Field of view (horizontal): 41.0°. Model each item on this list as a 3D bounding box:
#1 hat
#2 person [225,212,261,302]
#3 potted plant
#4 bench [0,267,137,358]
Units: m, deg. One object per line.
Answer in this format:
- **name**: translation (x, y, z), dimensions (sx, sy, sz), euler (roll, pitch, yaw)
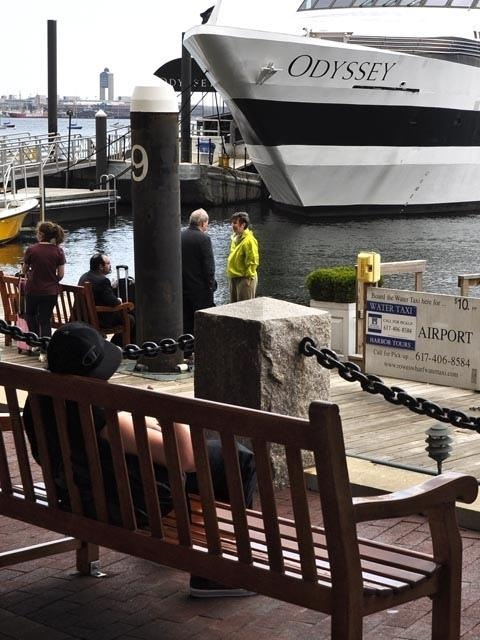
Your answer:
- **hat**: translation (-0.515, 0.127, 2.198), dimensions (0.228, 0.176, 0.136), euler (9, -30, 16)
- **person**: translation (0.051, -1.054, 10.445), dimensions (0.491, 1.522, 1.488), euler (-1, 2, -1)
- **potted plant**: translation (1.194, -0.074, 8.408), dimensions (0.651, 1.138, 0.376), euler (0, 2, 18)
- **bench**: translation (-2.017, -0.113, 7.493), dimensions (1.071, 0.644, 0.439), euler (11, 22, 21)
